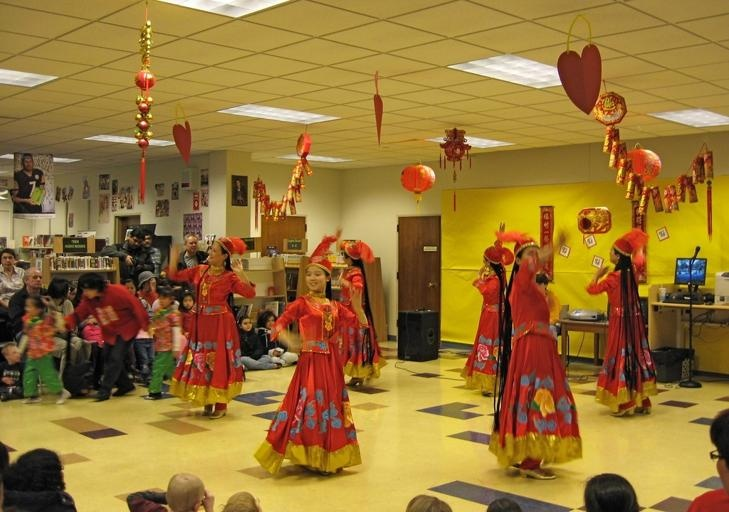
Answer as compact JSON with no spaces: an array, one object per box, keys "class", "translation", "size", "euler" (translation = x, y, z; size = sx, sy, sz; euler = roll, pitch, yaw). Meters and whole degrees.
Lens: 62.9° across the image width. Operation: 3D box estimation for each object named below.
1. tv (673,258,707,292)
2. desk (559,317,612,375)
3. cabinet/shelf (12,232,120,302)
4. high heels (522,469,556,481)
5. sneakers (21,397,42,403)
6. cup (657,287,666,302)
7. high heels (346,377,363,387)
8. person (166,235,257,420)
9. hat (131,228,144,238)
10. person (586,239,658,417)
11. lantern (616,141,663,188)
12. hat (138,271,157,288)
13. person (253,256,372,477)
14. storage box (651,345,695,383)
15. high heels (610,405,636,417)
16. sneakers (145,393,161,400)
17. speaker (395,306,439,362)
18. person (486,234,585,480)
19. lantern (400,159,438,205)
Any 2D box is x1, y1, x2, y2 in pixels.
[{"class":"tv","translation":[5.167,0.285,9.395],"size":[0.546,0.517,0.198],"euler":[1,-9,34]},{"class":"desk","translation":[3.693,1.415,9.970],"size":[0.915,0.962,1.095],"euler":[0,1,33]},{"class":"cabinet/shelf","translation":[-4.786,0.166,9.623],"size":[1.286,1.164,0.668],"euler":[0,0,-41]},{"class":"high heels","translation":[1.531,1.879,5.177],"size":[0.226,0.088,0.118],"euler":[-8,-4,16]},{"class":"sneakers","translation":[-4.188,1.812,7.505],"size":[0.212,0.090,0.074],"euler":[-2,1,-3]},{"class":"cup","translation":[4.628,0.590,9.240],"size":[0.100,0.204,0.242],"euler":[1,1,27]},{"class":"high heels","translation":[-0.126,1.822,8.655],"size":[0.262,0.107,0.095],"euler":[3,0,24]},{"class":"person","translation":[-1.688,0.829,6.745],"size":[1.021,2.064,0.797],"euler":[1,0,20]},{"class":"hat","translation":[-3.590,-0.363,9.433],"size":[0.176,0.157,0.132],"euler":[-3,3,-29]},{"class":"person","translation":[3.173,0.802,7.178],"size":[0.794,2.024,0.595],"euler":[1,0,1]},{"class":"lantern","translation":[3.421,-1.175,7.478],"size":[0.488,0.422,0.292],"euler":[0,1,-16]},{"class":"hat","translation":[-3.321,0.343,8.937],"size":[0.304,0.152,0.279],"euler":[-21,-4,-7]},{"class":"person","translation":[-0.445,0.952,5.144],"size":[0.891,1.892,0.457],"euler":[0,0,-27]},{"class":"storage box","translation":[4.694,1.643,9.076],"size":[0.958,0.598,0.499],"euler":[0,-1,-40]},{"class":"high heels","translation":[3.188,1.866,7.222],"size":[0.405,0.098,0.156],"euler":[0,1,-19]},{"class":"sneakers","translation":[-2.740,1.812,7.716],"size":[0.174,0.073,0.087],"euler":[7,-5,-18]},{"class":"speaker","translation":[1.006,1.399,11.058],"size":[0.845,1.156,0.873],"euler":[4,6,43]},{"class":"person","translation":[1.447,0.867,5.056],"size":[0.705,1.586,0.544],"euler":[1,0,29]},{"class":"lantern","translation":[0.824,-1.137,9.248],"size":[0.698,0.675,0.697],"euler":[0,2,3]}]
